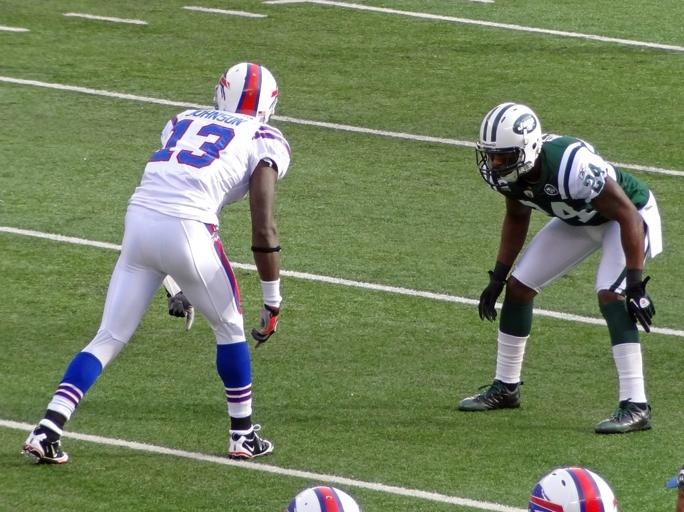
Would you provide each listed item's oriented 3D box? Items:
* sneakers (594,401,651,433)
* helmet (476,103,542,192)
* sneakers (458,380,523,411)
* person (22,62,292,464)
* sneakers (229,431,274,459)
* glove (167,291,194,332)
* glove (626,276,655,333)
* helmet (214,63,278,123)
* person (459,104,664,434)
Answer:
[{"bbox_3d":[1.693,0.997,6.957,0.437,0.180,0.144,-2,-1,-9],"label":"sneakers"},{"bbox_3d":[1.014,-0.670,6.882,0.363,0.489,0.179,6,15,2],"label":"helmet"},{"bbox_3d":[0.973,0.895,7.293,0.476,0.170,0.160,0,8,-6],"label":"sneakers"},{"bbox_3d":[-0.990,0.180,6.679,1.271,2.035,0.753,3,15,-10],"label":"person"},{"bbox_3d":[-0.543,1.118,6.720,0.312,0.124,0.121,-4,7,-43],"label":"sneakers"},{"bbox_3d":[-1.002,0.350,7.277,0.176,0.253,0.132,25,58,37],"label":"glove"},{"bbox_3d":[1.793,0.286,6.798,0.180,0.347,0.280,10,15,15],"label":"glove"},{"bbox_3d":[-0.547,-1.020,7.073,0.355,0.373,0.384,15,-25,-12],"label":"helmet"},{"bbox_3d":[1.413,0.061,7.061,1.264,1.944,0.591,10,15,18],"label":"person"}]
